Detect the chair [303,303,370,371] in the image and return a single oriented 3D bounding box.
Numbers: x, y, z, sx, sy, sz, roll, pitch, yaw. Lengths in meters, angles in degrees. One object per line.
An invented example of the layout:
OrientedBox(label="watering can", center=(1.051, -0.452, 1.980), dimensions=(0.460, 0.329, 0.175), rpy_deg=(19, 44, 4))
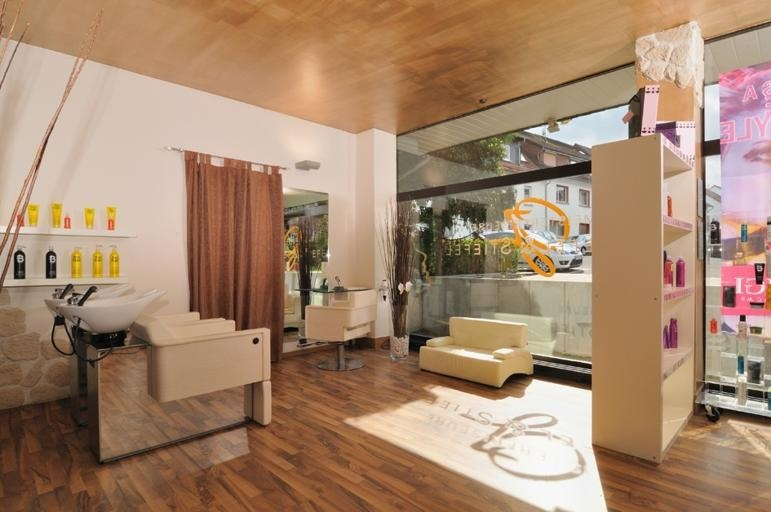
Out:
OrientedBox(label="chair", center=(-0.706, 1.228, 7.450), dimensions=(0.804, 0.906, 0.989), rpy_deg=(-2, -5, 21))

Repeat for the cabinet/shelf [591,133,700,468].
OrientedBox(label="cabinet/shelf", center=(2.949, 0.477, 5.438), dimensions=(1.531, 2.852, 0.738), rpy_deg=(2, -2, -44))

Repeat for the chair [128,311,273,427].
OrientedBox(label="chair", center=(-2.178, 1.005, 5.525), dimensions=(1.211, 1.126, 1.725), rpy_deg=(-2, 2, -35))

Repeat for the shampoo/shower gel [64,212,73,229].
OrientedBox(label="shampoo/shower gel", center=(-3.939, -0.428, 5.907), dimensions=(0.100, 0.177, 0.264), rpy_deg=(-9, 15, -34))

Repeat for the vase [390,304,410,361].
OrientedBox(label="vase", center=(0.209, 1.222, 7.662), dimensions=(0.270, 0.884, 0.303), rpy_deg=(0, 13, 1))

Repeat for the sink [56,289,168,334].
OrientedBox(label="sink", center=(-2.842, 0.594, 4.931), dimensions=(0.702, 0.284, 0.510), rpy_deg=(3, -6, -39))

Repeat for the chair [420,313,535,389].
OrientedBox(label="chair", center=(1.284, 1.369, 6.927), dimensions=(0.969, 0.777, 1.343), rpy_deg=(-2, 3, -44))

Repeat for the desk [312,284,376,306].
OrientedBox(label="desk", center=(-0.645, 0.655, 7.409), dimensions=(0.913, 0.400, 0.790), rpy_deg=(-1, 12, -6))

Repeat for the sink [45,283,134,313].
OrientedBox(label="sink", center=(-3.336, 0.448, 5.445), dimensions=(0.565, 0.243, 0.686), rpy_deg=(-9, -8, 40))
